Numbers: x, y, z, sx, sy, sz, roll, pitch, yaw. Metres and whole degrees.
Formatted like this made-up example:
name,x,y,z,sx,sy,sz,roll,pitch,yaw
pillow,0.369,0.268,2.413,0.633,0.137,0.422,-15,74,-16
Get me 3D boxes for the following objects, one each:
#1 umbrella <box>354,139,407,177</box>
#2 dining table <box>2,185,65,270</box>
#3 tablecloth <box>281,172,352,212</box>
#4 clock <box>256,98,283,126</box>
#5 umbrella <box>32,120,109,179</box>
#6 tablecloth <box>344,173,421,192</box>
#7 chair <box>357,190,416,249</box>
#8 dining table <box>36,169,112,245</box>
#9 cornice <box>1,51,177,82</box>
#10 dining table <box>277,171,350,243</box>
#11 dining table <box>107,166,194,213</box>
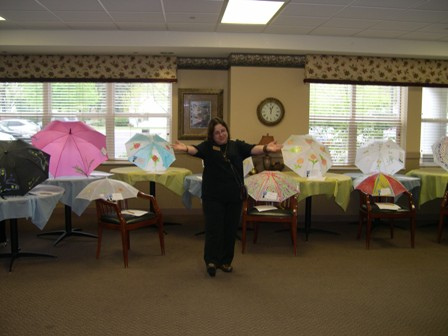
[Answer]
name,x,y,z,sx,sy,sz,roll,pitch,yaw
umbrella,2.651,-0.157,6.105,0.658,0.693,0.431,-11,-17,19
dining table,-2.412,0.749,4.534,0.902,0.706,0.926,1,7,2
tablecloth,1.556,0.308,5.483,0.723,0.285,0.741,-1,4,-39
clock,0.871,-1.052,7.093,0.477,0.497,0.486,9,6,-8
umbrella,-2.357,-0.215,5.634,0.874,0.908,0.429,6,-24,-23
tablecloth,2.854,0.164,6.634,1.161,0.293,1.065,3,6,5
chair,2.504,0.586,5.650,0.692,1.202,0.862,1,0,11
dining table,-2.222,0.489,5.525,1.104,0.861,1.125,0,3,-10
cornice,-2.603,-1.895,6.993,3.336,0.525,0.105,0,7,-1
dining table,1.536,0.579,5.800,0.997,0.814,1.025,1,0,8
dining table,-1.028,0.245,5.974,0.899,0.603,0.926,2,2,27
